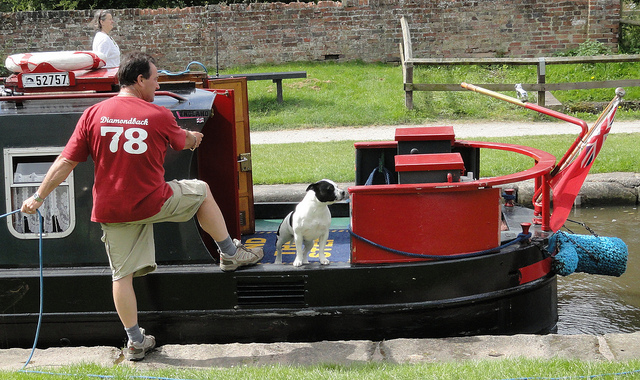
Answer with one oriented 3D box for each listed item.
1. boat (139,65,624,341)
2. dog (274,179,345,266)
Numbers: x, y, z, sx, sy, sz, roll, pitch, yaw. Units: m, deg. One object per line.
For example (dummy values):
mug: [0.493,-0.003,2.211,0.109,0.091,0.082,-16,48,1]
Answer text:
boat: [0.793,0.360,16.785,8.086,3.321,4.469,-3,16,4]
dog: [-0.167,0.551,15.370,0.679,1.246,1.614,2,-8,-21]
